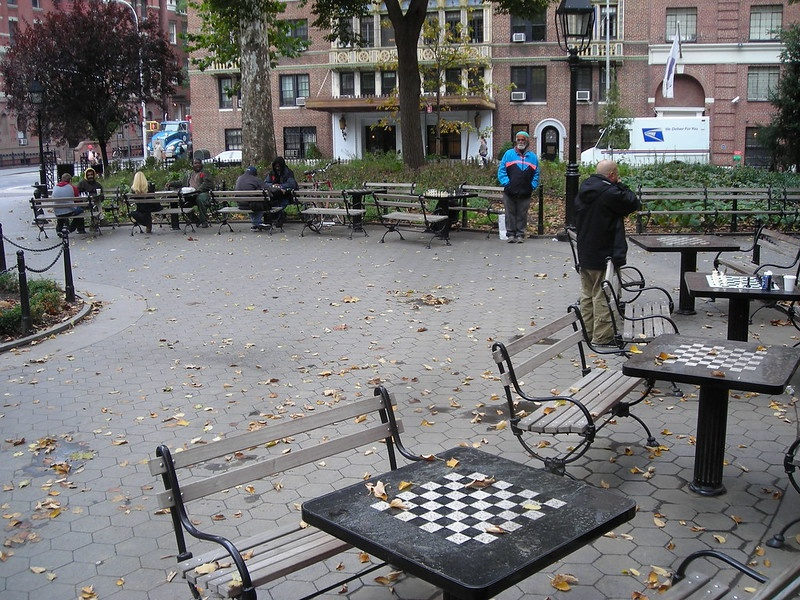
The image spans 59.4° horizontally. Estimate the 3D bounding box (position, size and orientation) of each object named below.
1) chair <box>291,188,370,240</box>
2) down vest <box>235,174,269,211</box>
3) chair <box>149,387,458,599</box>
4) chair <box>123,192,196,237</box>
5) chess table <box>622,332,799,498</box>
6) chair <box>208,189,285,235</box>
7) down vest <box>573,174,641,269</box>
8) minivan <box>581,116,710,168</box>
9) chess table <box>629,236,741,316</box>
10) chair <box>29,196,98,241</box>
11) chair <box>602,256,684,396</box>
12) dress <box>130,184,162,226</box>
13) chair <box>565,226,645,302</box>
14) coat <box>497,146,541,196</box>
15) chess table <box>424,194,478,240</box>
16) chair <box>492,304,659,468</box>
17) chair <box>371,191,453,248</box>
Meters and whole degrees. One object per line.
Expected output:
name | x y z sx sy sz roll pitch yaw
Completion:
chair | -1.995 -2.471 20.455 1.850 0.997 0.726 12 27 34
down vest | -4.327 -3.097 20.488 1.262 1.020 0.621 4 30 6
chair | -0.753 1.498 5.365 1.544 0.845 0.696 -11 13 -43
chair | -7.360 -2.629 21.581 1.849 0.991 0.671 2 34 3
chess table | 2.789 1.004 6.334 1.526 1.248 1.456 3 19 26
chair | -4.574 -2.635 21.060 2.273 1.188 0.854 4 5 31
down vest | 2.682 -1.000 9.102 0.807 1.223 0.474 1 16 19
minivan | 12.250 -7.743 34.257 4.181 2.219 5.869 7 17 38
chess table | 4.566 -0.300 11.179 1.564 1.000 1.558 7 14 35
chair | -9.814 -2.391 20.730 1.957 1.013 0.708 -1 -5 11
chair | 3.127 0.218 9.081 0.901 1.165 2.164 5 12 17
dress | -7.748 -3.008 21.239 0.895 1.651 1.193 -8 15 -13
chair | 2.965 -0.487 10.191 0.546 0.618 1.598 -2 15 18
coat | 2.874 -3.058 16.965 0.926 1.158 0.682 -3 15 6
chess table | 1.367 -2.284 18.670 1.471 0.779 1.333 0 19 4
chair | 1.791 0.953 6.727 0.954 1.356 2.233 6 11 31
chair | 0.381 -2.120 18.739 0.799 1.015 1.777 -21 25 -37
